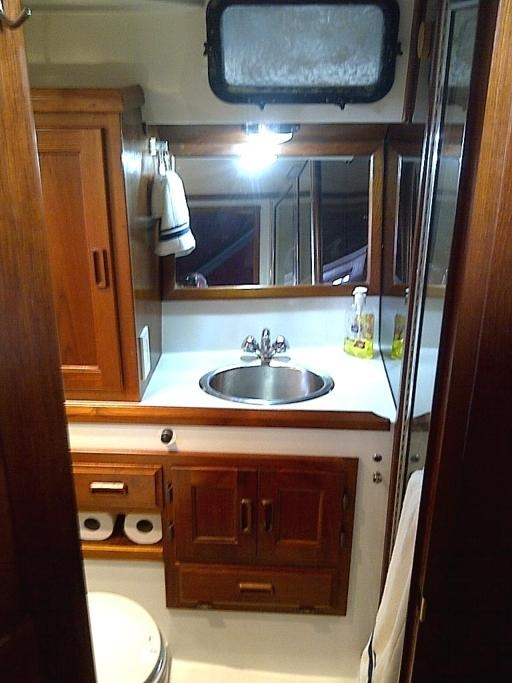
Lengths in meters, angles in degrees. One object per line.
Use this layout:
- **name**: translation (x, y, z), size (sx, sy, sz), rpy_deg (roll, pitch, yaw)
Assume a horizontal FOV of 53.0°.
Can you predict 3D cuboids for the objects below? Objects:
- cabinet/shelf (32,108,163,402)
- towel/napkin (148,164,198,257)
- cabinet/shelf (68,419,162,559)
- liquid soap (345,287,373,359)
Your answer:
- **cabinet/shelf**: translation (-0.479, -0.277, 1.639), size (0.254, 0.866, 0.399), rpy_deg (-2, 15, -3)
- **towel/napkin**: translation (-0.300, -0.475, 1.825), size (0.101, 0.291, 0.231), rpy_deg (-8, 23, 8)
- **cabinet/shelf**: translation (-0.451, 0.510, 1.768), size (0.336, 0.414, 0.303), rpy_deg (-1, 23, -6)
- **liquid soap**: translation (0.421, -0.080, 2.035), size (0.126, 0.280, 0.127), rpy_deg (-5, 15, -12)
